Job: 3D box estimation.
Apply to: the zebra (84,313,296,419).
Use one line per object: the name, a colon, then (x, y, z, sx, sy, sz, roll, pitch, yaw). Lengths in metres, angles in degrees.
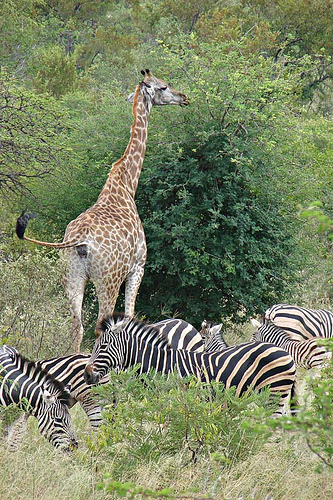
zebra: (0.226, 1.192, 5.945, 1.884, 1.150, 0.471, 1, 6, -2)
